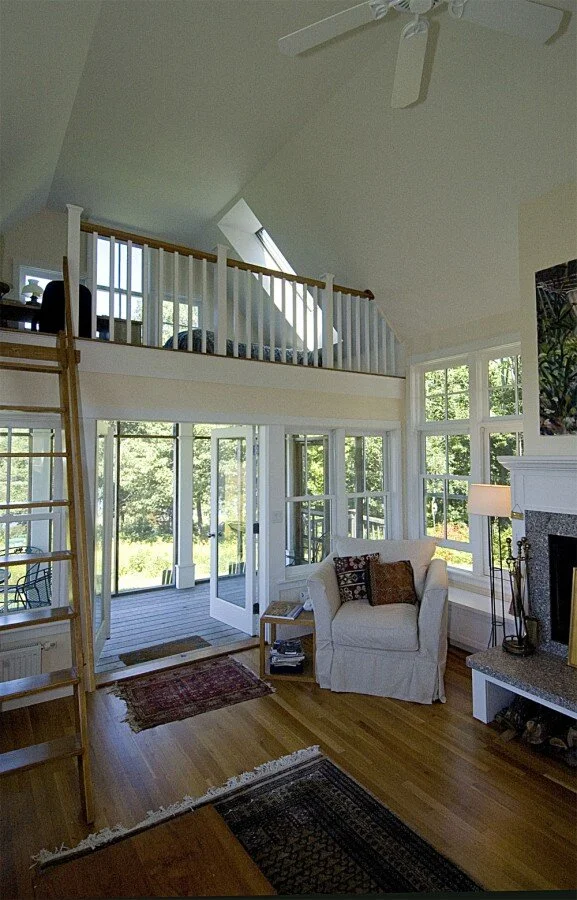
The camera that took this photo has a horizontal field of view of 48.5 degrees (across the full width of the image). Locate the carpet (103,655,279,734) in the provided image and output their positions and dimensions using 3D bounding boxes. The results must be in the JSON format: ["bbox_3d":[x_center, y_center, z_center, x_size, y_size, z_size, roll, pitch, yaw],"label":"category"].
[{"bbox_3d":[-0.627,1.495,4.014,0.929,0.025,0.710,-3,5,-32],"label":"carpet"}]

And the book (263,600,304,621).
[{"bbox_3d":[-0.031,1.100,4.397,0.249,0.027,0.394,0,4,9],"label":"book"}]

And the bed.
[{"bbox_3d":[-0.231,-0.787,5.068,0.616,0.275,1.913,2,5,34],"label":"bed"}]

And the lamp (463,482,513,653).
[{"bbox_3d":[1.401,0.764,4.483,0.275,1.105,0.845,0,3,18],"label":"lamp"}]

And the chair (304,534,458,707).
[{"bbox_3d":[0.590,1.083,4.251,0.868,0.781,0.899,0,4,11],"label":"chair"}]
